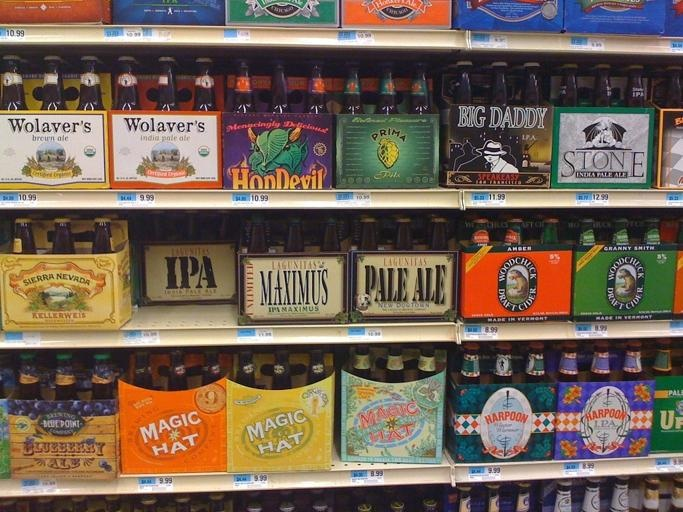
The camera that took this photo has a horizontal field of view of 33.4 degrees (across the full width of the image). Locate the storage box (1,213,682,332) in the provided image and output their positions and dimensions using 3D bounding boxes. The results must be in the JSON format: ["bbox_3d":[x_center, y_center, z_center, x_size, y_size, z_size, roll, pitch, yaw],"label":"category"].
[{"bbox_3d":[0.030,0.101,5.500,3.252,0.495,0.612,-1,-1,2],"label":"storage box"}]
